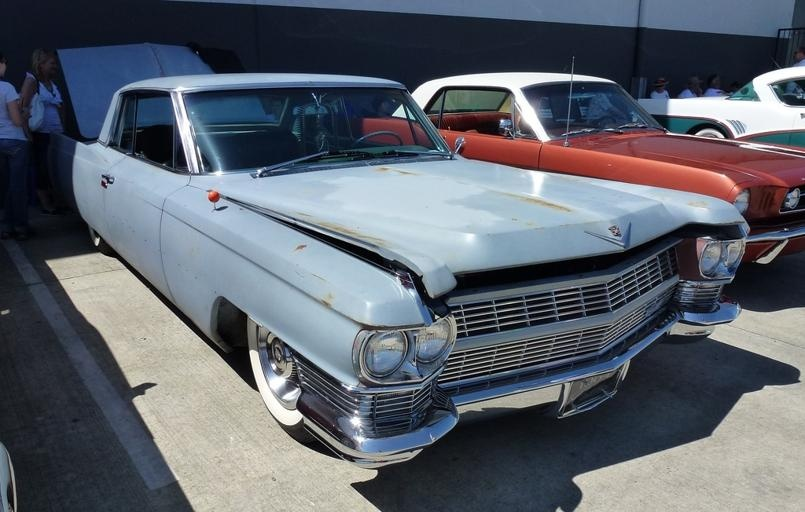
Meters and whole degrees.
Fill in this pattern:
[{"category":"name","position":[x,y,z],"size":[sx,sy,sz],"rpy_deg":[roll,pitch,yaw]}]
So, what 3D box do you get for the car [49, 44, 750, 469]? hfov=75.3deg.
[{"category":"car","position":[-0.843,-0.129,4.430],"size":[2.918,1.253,4.775],"rpy_deg":[-11,23,-36]}]
